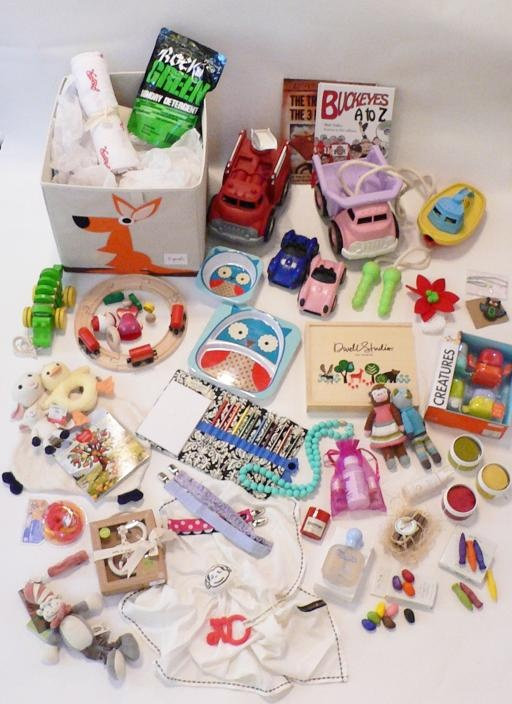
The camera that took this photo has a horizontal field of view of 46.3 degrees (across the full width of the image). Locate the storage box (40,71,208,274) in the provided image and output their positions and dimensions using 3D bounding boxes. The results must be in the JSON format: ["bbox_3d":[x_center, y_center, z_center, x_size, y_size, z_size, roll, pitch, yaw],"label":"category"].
[{"bbox_3d":[-0.456,-0.671,2.281,0.670,0.523,0.708,-1,75,-5],"label":"storage box"}]
